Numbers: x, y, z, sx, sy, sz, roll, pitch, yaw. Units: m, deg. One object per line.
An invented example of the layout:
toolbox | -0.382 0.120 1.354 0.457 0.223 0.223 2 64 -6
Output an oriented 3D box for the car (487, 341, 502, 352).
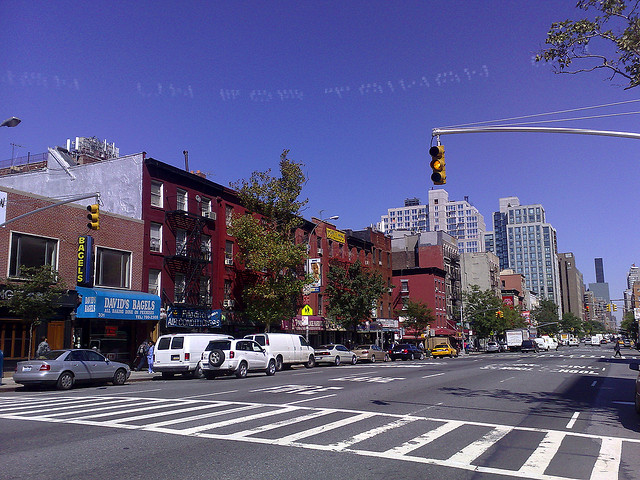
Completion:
car | 26.596 16.473 85.236 1.193 1.502 2.886 -5 -10 37

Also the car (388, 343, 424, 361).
car | 8.258 10.944 54.011 4.041 1.432 1.885 7 -10 -36

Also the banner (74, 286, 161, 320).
banner | -12.187 4.010 34.165 1.571 1.773 5.285 -3 -10 26

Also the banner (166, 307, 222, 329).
banner | -8.915 5.522 39.265 1.066 1.372 5.172 -2 -9 25

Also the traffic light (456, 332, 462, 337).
traffic light | 22.263 15.077 88.662 0.732 0.589 0.769 0 -8 2

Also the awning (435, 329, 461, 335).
awning | 19.417 14.156 85.227 1.492 0.798 6.661 -3 -9 29

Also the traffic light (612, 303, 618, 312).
traffic light | 34.475 7.960 64.927 0.411 0.668 1.900 -4 -9 33

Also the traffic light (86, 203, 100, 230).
traffic light | -9.650 -1.015 23.547 0.465 1.066 0.816 5 -8 -27

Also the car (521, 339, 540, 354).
car | 28.909 14.647 76.390 1.664 1.483 2.940 -3 3 21

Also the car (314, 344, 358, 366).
car | 1.117 8.612 41.458 2.077 1.456 3.558 -4 -9 31

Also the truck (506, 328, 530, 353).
truck | 31.109 15.722 87.211 3.321 3.413 5.665 -5 -15 22

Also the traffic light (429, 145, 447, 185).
traffic light | 3.556 -2.261 16.715 0.426 1.518 1.405 0 -7 11

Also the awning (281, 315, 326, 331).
awning | -1.539 7.785 51.809 3.404 1.501 8.788 0 -8 6

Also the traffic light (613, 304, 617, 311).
traffic light | 34.476 7.989 64.910 0.345 0.605 1.633 -3 -9 31

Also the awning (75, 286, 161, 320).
awning | -12.162 3.981 34.128 1.469 1.831 4.964 -4 -10 29

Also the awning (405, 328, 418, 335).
awning | 12.059 12.244 74.223 1.471 0.860 1.158 1 -8 -2

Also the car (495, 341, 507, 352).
car | 29.993 17.481 90.447 1.255 0.984 2.085 1 -2 -18

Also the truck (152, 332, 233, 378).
truck | -6.720 6.310 30.139 2.272 1.736 4.043 -5 -4 33

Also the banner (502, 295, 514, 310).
banner | 38.791 12.950 114.576 2.299 2.609 4.642 -4 -11 18
